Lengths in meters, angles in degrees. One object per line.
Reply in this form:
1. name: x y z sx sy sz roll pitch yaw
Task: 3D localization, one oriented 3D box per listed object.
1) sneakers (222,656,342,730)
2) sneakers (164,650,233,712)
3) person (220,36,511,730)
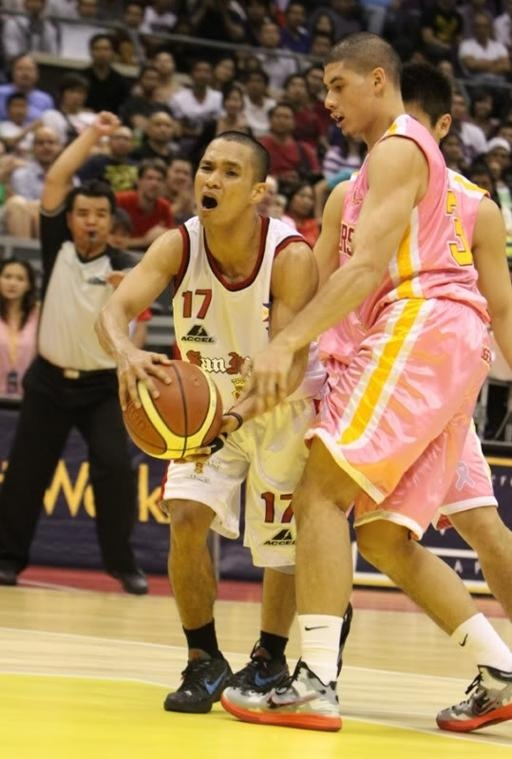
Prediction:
1. sneakers: 0.066 0.734 1.859 0.292 0.152 0.120 2 -9 28
2. sneakers: -0.149 0.779 2.027 0.095 0.111 0.286 -9 -10 24
3. person: 0.314 -0.021 2.014 0.476 1.755 0.845 -4 -17 36
